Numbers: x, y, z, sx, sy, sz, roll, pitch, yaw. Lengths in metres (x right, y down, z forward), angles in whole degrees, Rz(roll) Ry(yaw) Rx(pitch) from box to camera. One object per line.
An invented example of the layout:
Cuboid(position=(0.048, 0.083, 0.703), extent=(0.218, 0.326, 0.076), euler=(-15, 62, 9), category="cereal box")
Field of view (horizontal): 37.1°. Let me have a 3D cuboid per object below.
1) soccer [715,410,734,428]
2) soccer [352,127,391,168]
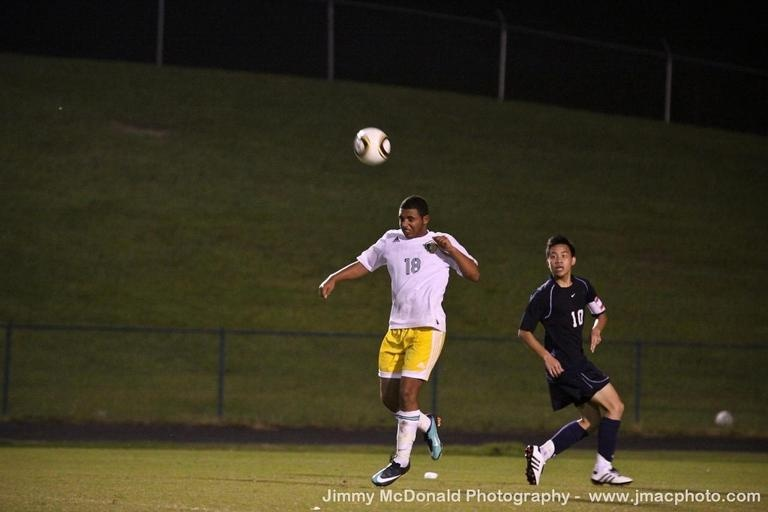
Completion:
Cuboid(position=(8.158, 3.855, 27.134), extent=(0.407, 0.403, 0.465), euler=(6, -23, -13), category="soccer")
Cuboid(position=(-0.102, -2.189, 22.608), extent=(0.791, 0.914, 0.773), euler=(-1, -1, 20), category="soccer")
